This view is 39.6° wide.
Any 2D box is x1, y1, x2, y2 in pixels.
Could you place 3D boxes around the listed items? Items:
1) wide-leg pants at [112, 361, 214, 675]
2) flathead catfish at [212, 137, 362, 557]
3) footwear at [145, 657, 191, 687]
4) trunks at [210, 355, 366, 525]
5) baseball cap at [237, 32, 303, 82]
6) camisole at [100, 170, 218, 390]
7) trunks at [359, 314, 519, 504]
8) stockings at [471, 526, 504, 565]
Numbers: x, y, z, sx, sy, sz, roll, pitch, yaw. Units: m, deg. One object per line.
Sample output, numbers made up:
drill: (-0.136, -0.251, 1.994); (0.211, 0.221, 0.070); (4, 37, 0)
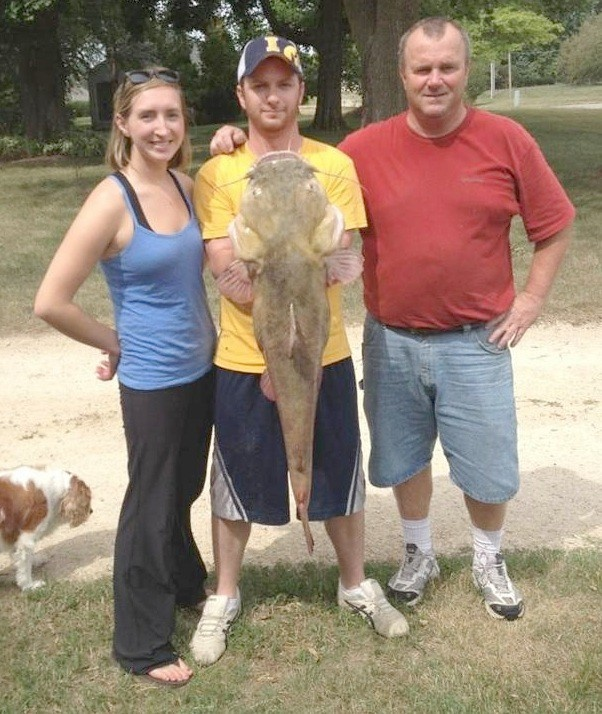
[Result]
wide-leg pants: (-0.724, 0.662, 4.527); (0.482, 1.839, 0.905); (-2, 5, 5)
flathead catfish: (0.245, -0.063, 3.865); (0.541, 1.865, 1.273); (-4, 16, -3)
footwear: (-0.663, 1.645, 4.335); (0.286, 0.097, 0.092); (-1, 15, 5)
trunks: (-0.078, 0.381, 4.635); (0.739, 0.913, 0.253); (-6, 18, -1)
baseball cap: (-0.149, -1.416, 3.954); (0.299, 0.222, 0.311); (-2, 13, -2)
camisole: (-0.751, -0.417, 4.250); (0.446, 1.037, 0.594); (6, 13, 35)
trunks: (0.836, 0.267, 4.890); (0.927, 1.098, 0.476); (5, 13, 30)
stockings: (1.117, 1.114, 4.958); (0.188, 0.152, 0.202); (1, 1, 19)
